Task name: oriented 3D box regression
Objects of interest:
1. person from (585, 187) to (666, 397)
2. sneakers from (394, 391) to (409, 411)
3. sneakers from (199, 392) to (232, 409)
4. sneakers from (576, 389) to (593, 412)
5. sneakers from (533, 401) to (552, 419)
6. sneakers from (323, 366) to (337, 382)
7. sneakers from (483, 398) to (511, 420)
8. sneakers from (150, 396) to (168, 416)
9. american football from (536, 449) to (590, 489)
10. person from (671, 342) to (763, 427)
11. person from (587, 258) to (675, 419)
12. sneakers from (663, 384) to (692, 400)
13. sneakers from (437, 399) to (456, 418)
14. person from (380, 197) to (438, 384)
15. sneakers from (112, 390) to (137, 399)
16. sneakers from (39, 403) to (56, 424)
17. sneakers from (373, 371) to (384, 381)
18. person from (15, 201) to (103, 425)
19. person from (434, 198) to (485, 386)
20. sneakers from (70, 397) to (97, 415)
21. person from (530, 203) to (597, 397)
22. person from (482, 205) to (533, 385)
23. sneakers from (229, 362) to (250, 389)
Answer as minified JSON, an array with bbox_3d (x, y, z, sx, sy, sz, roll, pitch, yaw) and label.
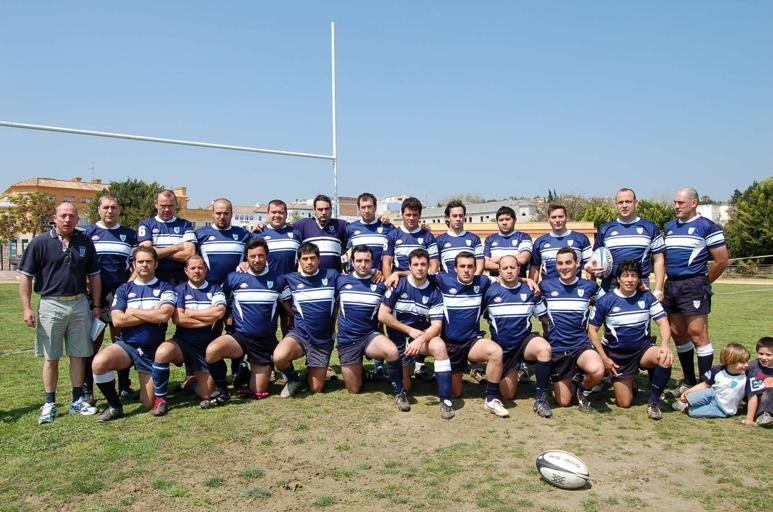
[{"bbox_3d":[3.656,0.426,9.446,1.068,2.905,0.937,3,1,20],"label":"person"},{"bbox_3d":[0.236,2.053,8.685,0.214,0.184,0.259,0,14,0],"label":"sneakers"},{"bbox_3d":[-2.398,2.040,8.731,0.161,0.185,0.446,0,-1,45],"label":"sneakers"},{"bbox_3d":[2.795,2.017,8.670,0.219,0.264,0.312,4,15,15],"label":"sneakers"},{"bbox_3d":[2.157,2.101,8.489,0.262,0.161,0.238,4,15,16],"label":"sneakers"},{"bbox_3d":[-0.946,1.930,9.987,0.330,0.220,0.110,-5,-1,-1],"label":"sneakers"},{"bbox_3d":[1.536,2.114,8.550,0.150,0.147,0.369,11,-10,-30],"label":"sneakers"},{"bbox_3d":[-3.100,2.048,8.432,0.192,0.211,0.348,-5,15,-19],"label":"sneakers"},{"bbox_3d":[2.027,2.434,7.047,0.481,0.288,0.334,9,-10,42],"label":"american football"},{"bbox_3d":[4.546,1.699,8.404,1.081,1.008,0.594,4,5,40],"label":"person"},{"bbox_3d":[3.428,1.116,8.664,1.104,2.058,0.805,6,15,22],"label":"person"},{"bbox_3d":[4.302,2.031,9.180,0.510,0.209,0.169,2,-3,-21],"label":"sneakers"},{"bbox_3d":[0.845,2.092,8.517,0.202,0.199,0.392,1,14,4],"label":"sneakers"},{"bbox_3d":[0.411,0.491,10.211,0.936,2.797,0.841,-1,7,-10],"label":"person"},{"bbox_3d":[-3.782,2.027,8.995,0.252,0.101,0.134,0,2,29],"label":"sneakers"},{"bbox_3d":[-4.533,2.077,8.234,0.215,0.178,0.360,-7,16,-26],"label":"sneakers"},{"bbox_3d":[-0.118,1.914,9.819,0.156,0.056,0.119,-1,3,-40],"label":"sneakers"},{"bbox_3d":[-4.356,0.720,8.382,0.974,2.778,0.931,-9,17,-32],"label":"person"},{"bbox_3d":[1.270,0.335,10.465,0.825,2.608,0.807,-2,34,12],"label":"person"},{"bbox_3d":[-4.139,2.050,8.431,0.402,0.191,0.175,1,0,18],"label":"sneakers"},{"bbox_3d":[2.865,1.302,9.695,1.190,2.858,0.842,0,13,17],"label":"person"},{"bbox_3d":[2.112,0.506,10.411,0.874,2.608,0.800,-6,10,10],"label":"person"},{"bbox_3d":[-2.215,1.842,9.299,0.180,0.225,0.526,1,-1,-6],"label":"sneakers"}]
